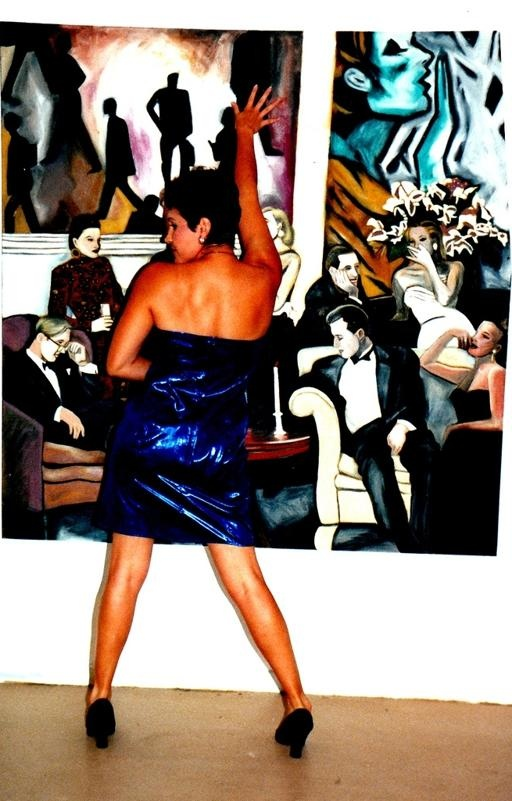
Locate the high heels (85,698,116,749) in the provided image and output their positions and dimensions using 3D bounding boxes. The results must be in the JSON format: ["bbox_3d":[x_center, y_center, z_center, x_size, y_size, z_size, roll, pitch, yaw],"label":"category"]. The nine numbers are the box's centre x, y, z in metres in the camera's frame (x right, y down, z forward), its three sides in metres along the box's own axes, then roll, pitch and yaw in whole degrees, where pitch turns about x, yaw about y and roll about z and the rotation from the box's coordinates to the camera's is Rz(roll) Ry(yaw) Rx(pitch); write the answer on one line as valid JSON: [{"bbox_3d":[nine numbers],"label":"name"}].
[{"bbox_3d":[-0.420,0.859,2.310,0.061,0.121,0.056,-2,-12,-3],"label":"high heels"}]

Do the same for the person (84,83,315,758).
[{"bbox_3d":[-0.140,0.078,2.309,0.585,1.684,0.341,1,3,-11],"label":"person"}]

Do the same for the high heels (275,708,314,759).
[{"bbox_3d":[0.097,0.872,2.265,0.059,0.154,0.061,7,42,-10],"label":"high heels"}]
